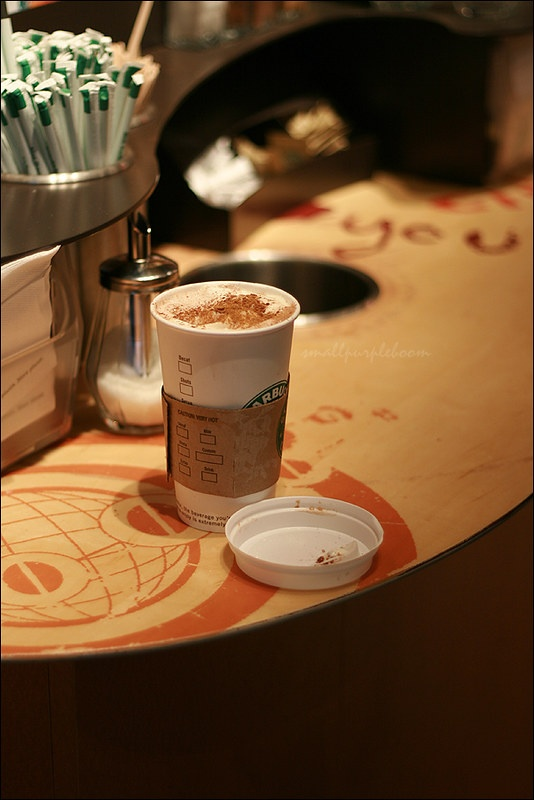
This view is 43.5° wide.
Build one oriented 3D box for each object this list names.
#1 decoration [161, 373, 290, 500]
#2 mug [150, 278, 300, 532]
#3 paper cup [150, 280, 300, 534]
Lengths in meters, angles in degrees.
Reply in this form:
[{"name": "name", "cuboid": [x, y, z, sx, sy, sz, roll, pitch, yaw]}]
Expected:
[{"name": "decoration", "cuboid": [-0.036, 0.031, 0.580, 0.093, 0.077, 0.103, -5, 17, -17]}, {"name": "mug", "cuboid": [-0.037, 0.006, 0.566, 0.124, 0.170, 0.111, -8, 23, -24]}, {"name": "paper cup", "cuboid": [-0.036, 0.007, 0.573, 0.121, 0.188, 0.132, 1, 24, 0]}]
